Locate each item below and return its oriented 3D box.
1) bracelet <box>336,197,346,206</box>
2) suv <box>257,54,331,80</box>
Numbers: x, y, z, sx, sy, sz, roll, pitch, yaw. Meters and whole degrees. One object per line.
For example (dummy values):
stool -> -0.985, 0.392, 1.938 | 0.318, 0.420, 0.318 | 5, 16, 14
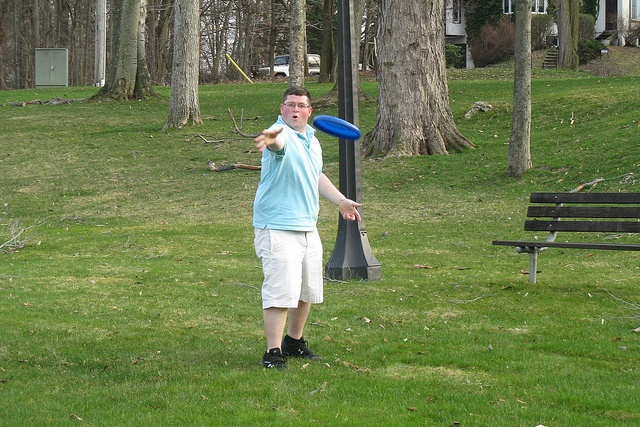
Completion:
bracelet -> 0.518, -0.291, 27.957 | 0.164, 0.067, 0.141 | -42, -3, -8
suv -> -1.694, -9.669, 71.894 | 4.394, 2.006, 2.348 | 0, 5, -6
